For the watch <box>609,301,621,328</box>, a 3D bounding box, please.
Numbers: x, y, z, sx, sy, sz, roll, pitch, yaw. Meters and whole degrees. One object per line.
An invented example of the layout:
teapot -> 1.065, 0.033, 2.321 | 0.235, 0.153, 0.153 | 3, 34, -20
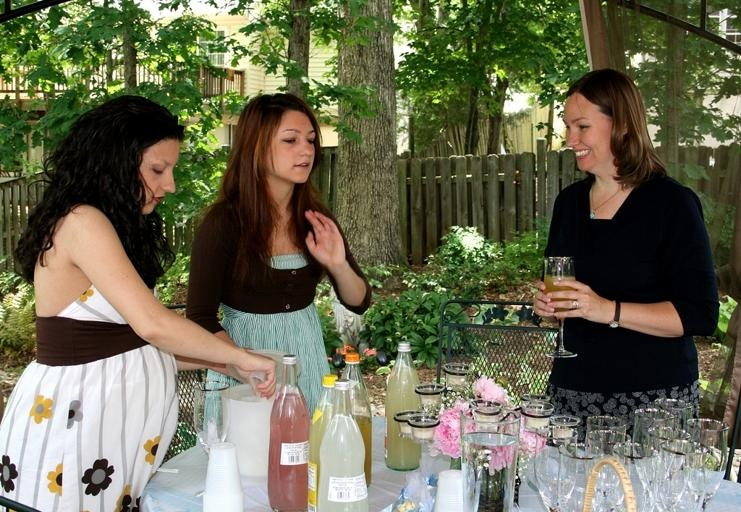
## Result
watch -> 1.010, 0.243, 2.579 | 0.059, 0.089, 0.096 | 5, 19, 10

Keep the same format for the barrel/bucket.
barrel/bucket -> -0.400, 0.624, 2.271 | 0.273, 0.299, 0.268 | 1, 3, 0

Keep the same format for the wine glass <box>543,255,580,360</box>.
wine glass -> 0.835, 0.234, 2.762 | 0.129, 0.467, 0.367 | -1, -3, 18

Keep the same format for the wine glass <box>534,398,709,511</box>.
wine glass -> 0.733, 0.613, 1.972 | 0.318, 0.349, 0.322 | 2, -1, -6

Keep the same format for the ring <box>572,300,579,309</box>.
ring -> 0.840, 0.198, 2.575 | 0.024, 0.030, 0.030 | 11, 10, 20
